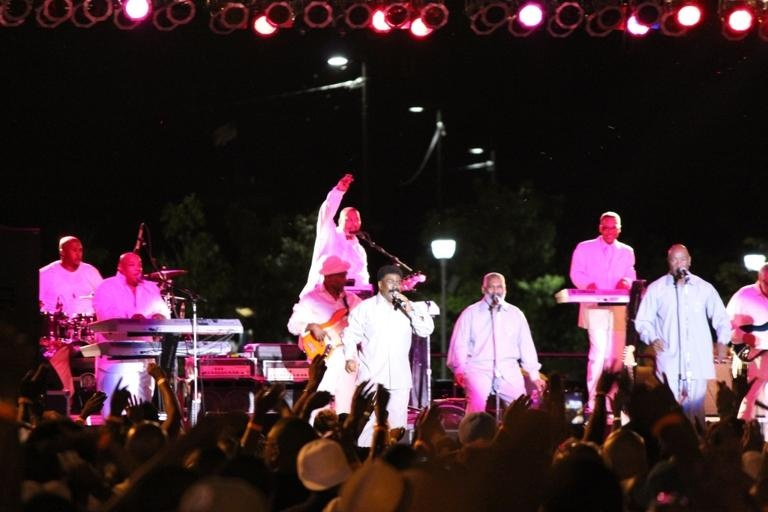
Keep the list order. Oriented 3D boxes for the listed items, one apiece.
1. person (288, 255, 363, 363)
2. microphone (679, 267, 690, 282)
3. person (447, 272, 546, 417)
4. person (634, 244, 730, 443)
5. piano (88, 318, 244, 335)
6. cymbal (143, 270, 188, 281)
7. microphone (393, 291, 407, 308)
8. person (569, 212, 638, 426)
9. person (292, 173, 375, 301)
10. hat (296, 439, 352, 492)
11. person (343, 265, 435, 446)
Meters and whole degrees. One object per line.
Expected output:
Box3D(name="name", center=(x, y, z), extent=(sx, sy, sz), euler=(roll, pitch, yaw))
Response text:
Box3D(name="person", center=(-0.773, 0.724, 11.286), extent=(0.719, 1.410, 0.692), euler=(-1, -10, 8))
Box3D(name="microphone", center=(3.800, 0.231, 11.219), extent=(0.083, 0.159, 0.184), euler=(-4, -8, 40))
Box3D(name="person", center=(1.373, 1.180, 11.190), extent=(1.005, 2.184, 0.845), euler=(-1, -3, 23))
Box3D(name="person", center=(3.870, 1.250, 11.451), extent=(1.121, 2.733, 0.805), euler=(1, 21, 26))
Box3D(name="piano", center=(-2.708, 0.867, 11.107), extent=(1.828, 0.263, 0.466), euler=(5, -8, -22))
Box3D(name="cymbal", center=(-2.868, 0.225, 11.552), extent=(0.532, 0.173, 0.544), euler=(1, -7, 0))
Box3D(name="microphone", center=(0.171, 0.478, 9.945), extent=(0.126, 0.176, 0.058), euler=(-24, 11, -31))
Box3D(name="person", center=(3.361, 0.827, 13.071), extent=(1.086, 2.951, 0.939), euler=(-3, 6, -23))
Box3D(name="person", center=(-0.657, -0.277, 12.887), extent=(0.923, 1.965, 0.917), euler=(1, -6, 2))
Box3D(name="hat", center=(-0.426, 1.337, 5.884), extent=(0.333, 0.329, 0.338), euler=(2, -1, -19))
Box3D(name="person", center=(0.060, 1.288, 10.175), extent=(0.976, 2.319, 0.693), euler=(3, 13, 7))
